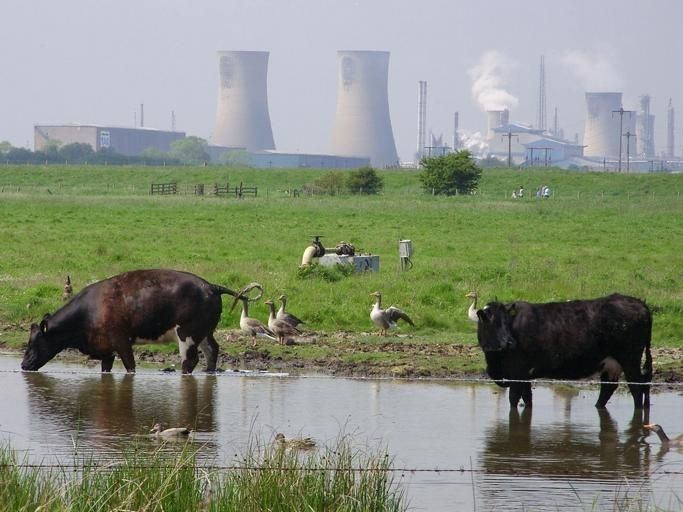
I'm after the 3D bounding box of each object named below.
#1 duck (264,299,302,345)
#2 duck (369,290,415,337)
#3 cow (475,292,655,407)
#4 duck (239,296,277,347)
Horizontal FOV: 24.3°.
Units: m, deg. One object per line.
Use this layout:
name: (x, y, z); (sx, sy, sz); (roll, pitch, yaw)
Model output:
duck: (-1.716, 1.900, 44.593); (1.288, 1.755, 0.691); (1, -1, 5)
duck: (1.446, 1.605, 46.598); (1.172, 1.169, 1.939); (-1, 2, 0)
cow: (5.483, 2.588, 41.262); (5.171, 3.543, 2.162); (-3, 10, 6)
duck: (-2.385, 1.801, 44.056); (1.190, 1.510, 0.564); (2, 12, -2)
